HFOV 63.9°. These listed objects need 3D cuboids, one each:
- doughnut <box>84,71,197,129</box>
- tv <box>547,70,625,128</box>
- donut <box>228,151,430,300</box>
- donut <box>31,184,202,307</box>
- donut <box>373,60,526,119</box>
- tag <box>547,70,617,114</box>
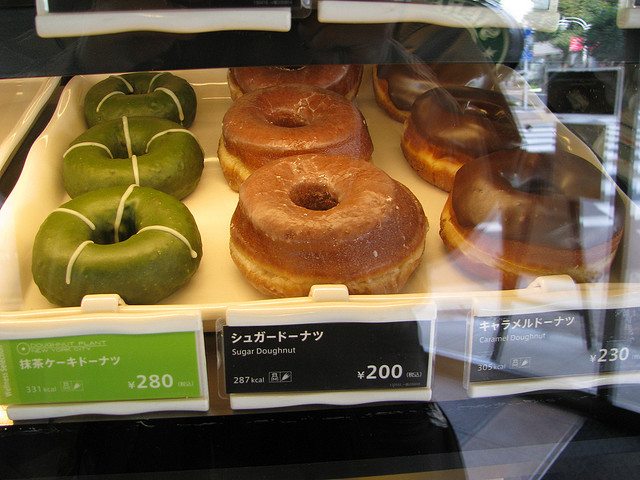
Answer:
[{"bbox_3d":[-0.527,-0.410,1.480,0.231,0.078,0.216,-18,40,-29],"label":"doughnut"},{"bbox_3d":[0.556,-0.298,1.074,0.131,0.121,0.031,4,30,33],"label":"tv"},{"bbox_3d":[0.000,-0.030,1.212,0.475,0.189,0.422,17,43,18],"label":"donut"},{"bbox_3d":[-0.469,0.023,1.197,0.330,0.156,0.337,18,44,19],"label":"donut"},{"bbox_3d":[0.308,-0.431,1.374,0.288,0.082,0.242,2,24,-1],"label":"donut"},{"bbox_3d":[0.553,-0.318,1.080,0.108,0.096,0.022,2,55,24],"label":"tag"}]
